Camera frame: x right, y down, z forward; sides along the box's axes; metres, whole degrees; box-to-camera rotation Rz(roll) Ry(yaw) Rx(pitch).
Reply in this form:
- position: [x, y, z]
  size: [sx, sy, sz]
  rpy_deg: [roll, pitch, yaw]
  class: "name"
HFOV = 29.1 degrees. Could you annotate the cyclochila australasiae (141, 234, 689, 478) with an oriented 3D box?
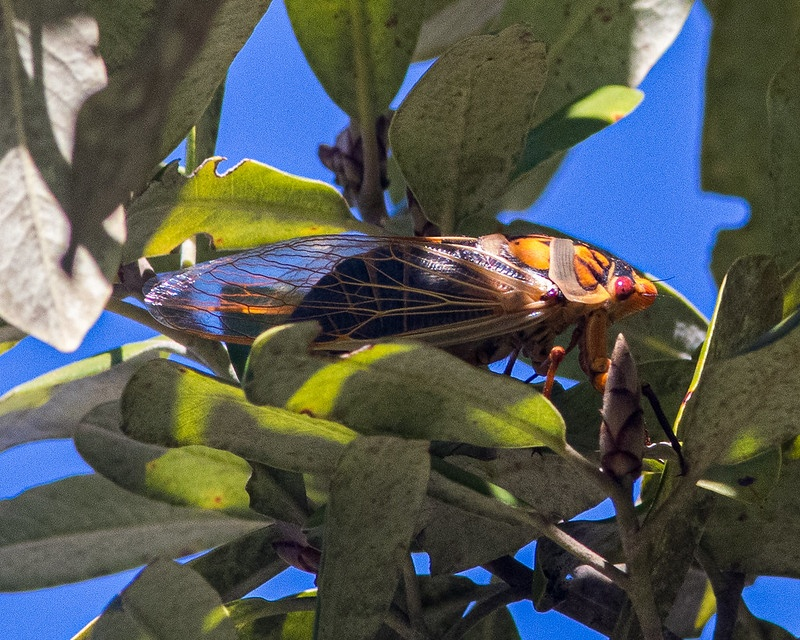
- position: [-0.003, -0.007, 1.146]
  size: [0.281, 0.110, 0.194]
  rpy_deg: [9, -4, 5]
  class: "cyclochila australasiae"
